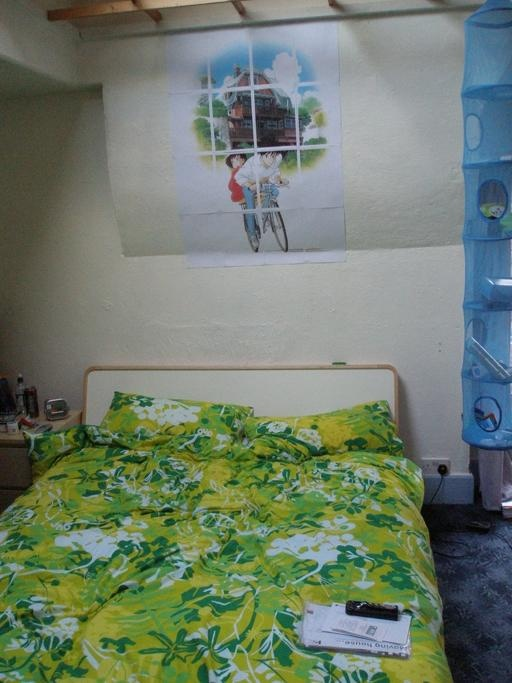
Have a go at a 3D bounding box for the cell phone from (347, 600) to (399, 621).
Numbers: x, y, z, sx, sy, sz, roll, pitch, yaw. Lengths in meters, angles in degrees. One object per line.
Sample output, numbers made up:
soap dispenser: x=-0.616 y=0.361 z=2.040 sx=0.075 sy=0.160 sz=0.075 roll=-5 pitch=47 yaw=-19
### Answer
cell phone: x=0.288 y=0.663 z=1.433 sx=0.081 sy=0.024 sz=0.048 roll=0 pitch=2 yaw=11
